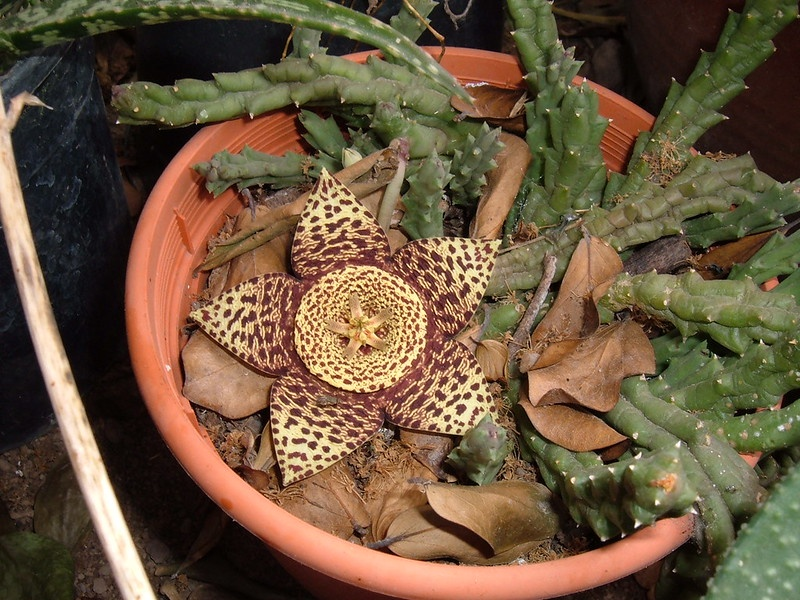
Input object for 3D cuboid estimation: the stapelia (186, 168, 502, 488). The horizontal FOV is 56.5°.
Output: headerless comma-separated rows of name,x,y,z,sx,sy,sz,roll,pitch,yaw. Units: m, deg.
stapelia,-0.052,0.020,0.908,0.354,0.082,0.370,-31,-60,-16
